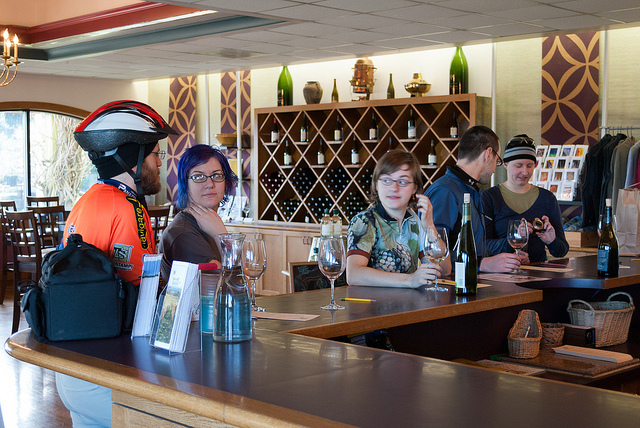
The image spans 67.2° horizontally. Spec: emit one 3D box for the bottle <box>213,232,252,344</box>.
[{"bbox_3d":[-0.315,0.250,1.672,0.131,0.351,0.200,-4,4,-9],"label":"bottle"}]

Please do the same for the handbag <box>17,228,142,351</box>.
[{"bbox_3d":[-0.903,0.252,1.764,0.407,0.367,0.411,5,6,5],"label":"handbag"}]

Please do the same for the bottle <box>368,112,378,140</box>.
[{"bbox_3d":[0.740,-1.248,6.885,0.126,0.395,0.258,-3,4,2],"label":"bottle"}]

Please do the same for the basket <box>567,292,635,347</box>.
[{"bbox_3d":[1.514,0.558,2.673,0.314,0.212,0.312,1,-2,-28],"label":"basket"}]

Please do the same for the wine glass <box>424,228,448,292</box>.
[{"bbox_3d":[0.579,0.229,2.408,0.108,0.319,0.220,-2,4,13],"label":"wine glass"}]

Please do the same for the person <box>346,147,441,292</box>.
[{"bbox_3d":[0.362,0.019,2.601,0.465,0.720,0.581,-3,4,7],"label":"person"}]

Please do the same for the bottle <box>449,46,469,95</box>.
[{"bbox_3d":[1.807,-1.870,6.335,0.231,0.662,0.443,-2,4,19],"label":"bottle"}]

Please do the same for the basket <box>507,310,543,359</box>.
[{"bbox_3d":[1.012,0.585,2.363,0.140,0.161,0.234,0,10,31],"label":"basket"}]

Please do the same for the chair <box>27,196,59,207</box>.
[{"bbox_3d":[-4.628,-0.232,8.003,0.294,0.206,0.288,0,3,-1],"label":"chair"}]

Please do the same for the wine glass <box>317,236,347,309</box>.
[{"bbox_3d":[0.056,0.247,2.137,0.120,0.314,0.264,-3,4,1],"label":"wine glass"}]

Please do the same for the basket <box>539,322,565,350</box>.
[{"bbox_3d":[1.201,0.642,2.511,0.143,0.114,0.154,-7,-29,44],"label":"basket"}]

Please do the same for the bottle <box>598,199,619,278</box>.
[{"bbox_3d":[1.653,0.135,2.776,0.097,0.434,0.254,-1,5,29],"label":"bottle"}]

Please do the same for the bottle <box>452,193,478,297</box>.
[{"bbox_3d":[0.706,0.144,2.370,0.108,0.483,0.243,-2,4,16],"label":"bottle"}]

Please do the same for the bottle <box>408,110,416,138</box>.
[{"bbox_3d":[1.242,-1.220,6.561,0.107,0.382,0.215,-2,4,11],"label":"bottle"}]
